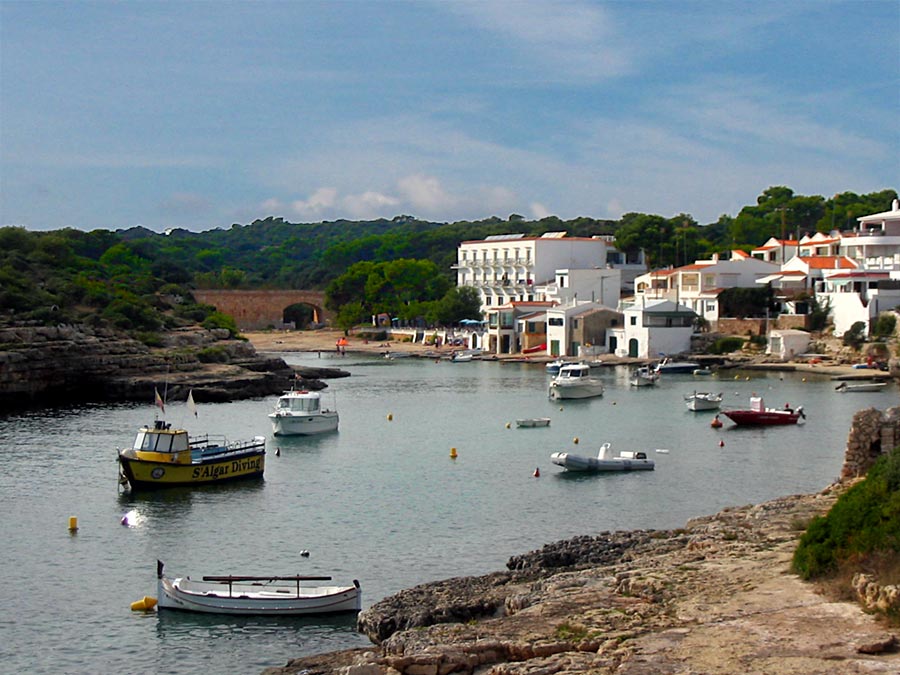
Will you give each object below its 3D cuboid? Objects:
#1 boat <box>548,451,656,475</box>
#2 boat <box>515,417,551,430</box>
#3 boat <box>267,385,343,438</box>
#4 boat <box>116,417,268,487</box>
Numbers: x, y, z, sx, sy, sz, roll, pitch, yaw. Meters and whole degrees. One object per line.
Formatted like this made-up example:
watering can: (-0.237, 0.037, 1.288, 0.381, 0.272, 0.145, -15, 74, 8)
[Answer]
boat: (7.704, 6.286, 82.307, 3.705, 0.998, 1.871, -1, 0, -7)
boat: (4.847, 4.940, 96.798, 2.015, 0.367, 3.605, -1, 7, 7)
boat: (-8.567, 4.385, 93.530, 3.886, 2.131, 2.758, -7, 9, -32)
boat: (-12.878, 5.576, 80.342, 6.852, 2.721, 3.292, 5, -5, -42)
